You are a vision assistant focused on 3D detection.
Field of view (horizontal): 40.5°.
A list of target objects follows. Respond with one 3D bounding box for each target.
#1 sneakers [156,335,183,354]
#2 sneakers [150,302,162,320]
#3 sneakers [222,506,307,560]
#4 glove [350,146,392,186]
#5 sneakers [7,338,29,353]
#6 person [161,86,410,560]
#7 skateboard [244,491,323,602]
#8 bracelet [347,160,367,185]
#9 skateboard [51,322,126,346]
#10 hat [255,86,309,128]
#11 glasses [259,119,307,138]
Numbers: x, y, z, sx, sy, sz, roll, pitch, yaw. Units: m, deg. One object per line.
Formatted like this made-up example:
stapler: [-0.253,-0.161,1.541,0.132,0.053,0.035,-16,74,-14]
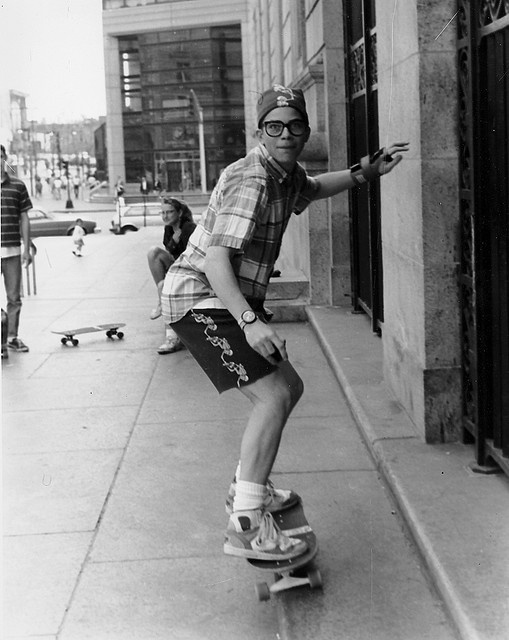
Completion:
sneakers: [-0.851,0.276,7.244,0.161,0.181,0.460,-1,0,34]
sneakers: [-1.203,-0.096,8.461,0.116,0.135,0.331,9,22,-8]
sneakers: [0.042,0.752,2.442,0.293,0.148,0.118,2,5,8]
glove: [0.542,-0.713,3.252,0.224,0.122,0.066,-31,31,-16]
sneakers: [-2.531,0.284,7.410,0.288,0.117,0.104,14,21,16]
person: [0.015,-0.025,2.714,0.571,1.683,0.991,-5,10,16]
skateboard: [0.095,0.844,2.670,0.304,0.167,0.576,-17,20,0]
bracelet: [0.478,-0.689,3.247,0.081,0.097,0.052,-17,6,-20]
skateboard: [-1.866,0.178,7.937,0.725,0.178,0.409,-12,11,-31]
hat: [0.099,-0.780,2.538,0.161,0.132,0.180,-2,-2,5]
glasses: [0.114,-0.678,2.461,0.152,0.065,0.066,-7,10,-4]
